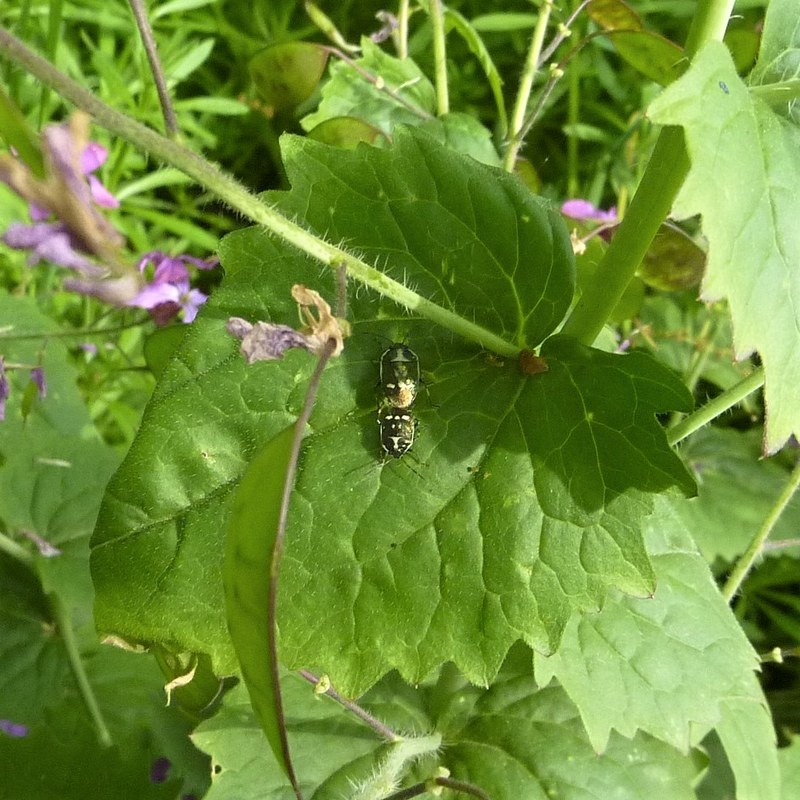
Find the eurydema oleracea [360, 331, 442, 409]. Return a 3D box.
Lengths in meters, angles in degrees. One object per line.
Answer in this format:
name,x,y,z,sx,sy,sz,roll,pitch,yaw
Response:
eurydema oleracea,0.002,-0.033,1.055,0.070,0.030,0.097,-2,58,-4

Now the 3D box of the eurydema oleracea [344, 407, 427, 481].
eurydema oleracea,-0.007,0.042,1.035,0.072,0.023,0.082,2,44,13
